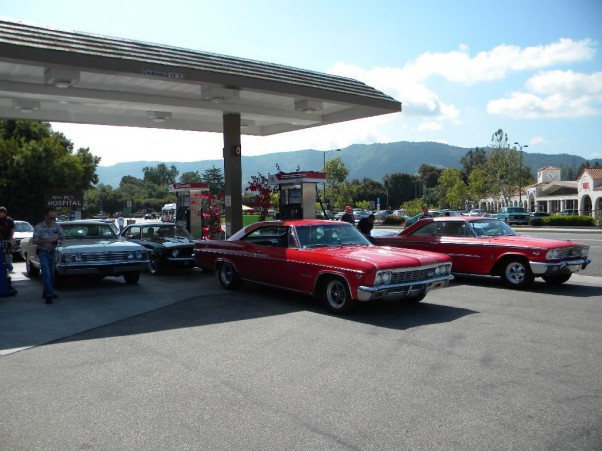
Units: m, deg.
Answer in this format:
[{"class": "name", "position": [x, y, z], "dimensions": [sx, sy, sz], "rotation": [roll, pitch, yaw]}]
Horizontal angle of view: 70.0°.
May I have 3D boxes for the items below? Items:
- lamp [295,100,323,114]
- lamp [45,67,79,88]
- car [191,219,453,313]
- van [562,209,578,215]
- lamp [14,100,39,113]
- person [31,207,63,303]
[{"class": "lamp", "position": [0.287, -4.288, 15.278], "dimensions": [1.036, 0.275, 0.764], "rotation": [-1, 3, -4]}, {"class": "lamp", "position": [-6.514, -4.007, 11.726], "dimensions": [0.702, 0.484, 0.656], "rotation": [-2, 3, -35]}, {"class": "car", "position": [0.346, 0.748, 9.518], "dimensions": [4.999, 1.713, 1.776], "rotation": [2, 4, 44]}, {"class": "van", "position": [37.846, -1.888, 60.577], "dimensions": [2.170, 0.736, 0.984], "rotation": [-12, 12, -32]}, {"class": "lamp", "position": [-9.385, -4.074, 14.691], "dimensions": [0.542, 0.263, 0.490], "rotation": [-3, 6, -28]}, {"class": "person", "position": [-5.705, 0.652, 9.714], "dimensions": [0.587, 2.006, 1.308], "rotation": [-2, 3, -31]}]
